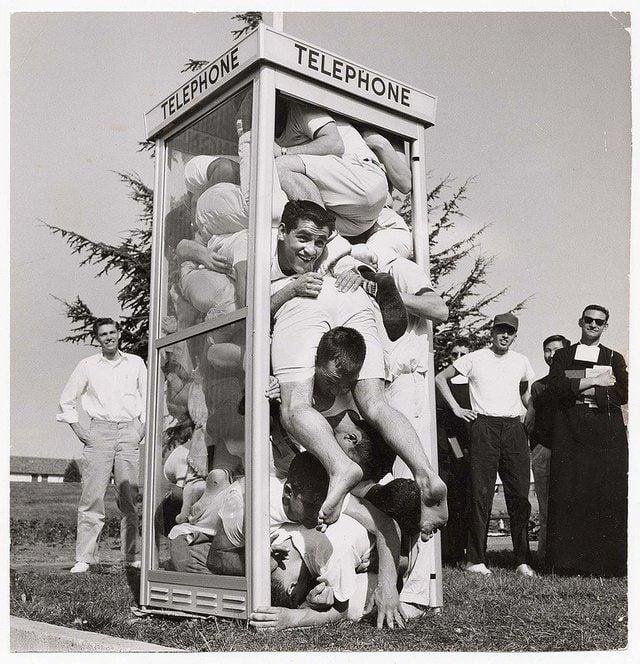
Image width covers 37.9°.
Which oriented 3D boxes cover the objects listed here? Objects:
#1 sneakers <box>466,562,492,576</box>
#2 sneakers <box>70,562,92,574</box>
[{"bbox_3d":[1.261,1.897,7.414,0.072,0.117,0.227,2,-10,-27],"label":"sneakers"},{"bbox_3d":[-1.881,1.876,7.320,0.073,0.063,0.142,-6,-18,-3],"label":"sneakers"}]
